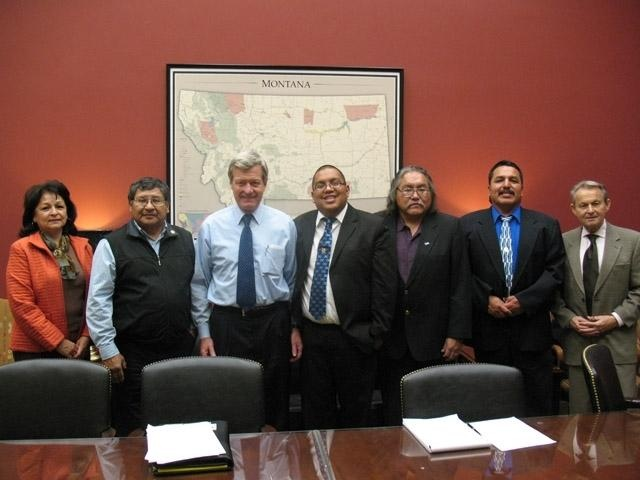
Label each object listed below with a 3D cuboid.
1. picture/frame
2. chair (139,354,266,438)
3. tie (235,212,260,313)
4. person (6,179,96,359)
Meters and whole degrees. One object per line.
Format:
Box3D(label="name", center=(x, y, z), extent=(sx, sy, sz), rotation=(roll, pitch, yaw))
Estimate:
Box3D(label="picture/frame", center=(-0.384, -0.695, 4.553), extent=(1.593, 1.184, 0.034), rotation=(0, 0, -3))
Box3D(label="chair", center=(-0.633, 0.834, 3.064), extent=(0.438, 0.597, 0.488), rotation=(0, -11, -6))
Box3D(label="tie", center=(-0.503, 0.141, 3.783), extent=(0.138, 0.602, 0.262), rotation=(-2, 11, -8))
Box3D(label="person", center=(-1.843, 0.205, 3.806), extent=(0.526, 1.168, 0.441), rotation=(-4, 11, -21))
